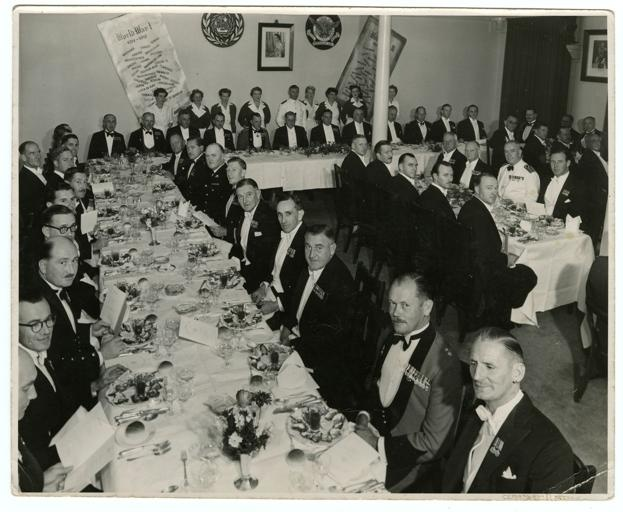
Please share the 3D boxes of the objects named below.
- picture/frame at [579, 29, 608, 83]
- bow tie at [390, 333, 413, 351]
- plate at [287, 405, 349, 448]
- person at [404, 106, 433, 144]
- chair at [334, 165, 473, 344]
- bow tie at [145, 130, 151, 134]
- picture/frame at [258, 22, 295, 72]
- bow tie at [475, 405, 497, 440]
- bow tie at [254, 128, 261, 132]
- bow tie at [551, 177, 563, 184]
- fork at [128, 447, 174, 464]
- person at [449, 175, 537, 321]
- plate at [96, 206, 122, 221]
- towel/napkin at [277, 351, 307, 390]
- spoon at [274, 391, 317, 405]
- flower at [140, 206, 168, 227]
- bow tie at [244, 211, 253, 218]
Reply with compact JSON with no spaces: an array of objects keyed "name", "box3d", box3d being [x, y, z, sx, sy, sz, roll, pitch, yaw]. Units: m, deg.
[{"name":"picture/frame","box3d":[5.416,-3.807,11.114,0.298,1.002,0.762,-6,13,-2]},{"name":"bow tie","box3d":[0.618,0.579,3.971,0.105,0.038,0.102,8,16,35]},{"name":"plate","box3d":[0.036,0.974,3.434,0.352,0.163,0.297,-4,14,8]},{"name":"person","box3d":[2.136,-2.646,11.768,0.541,0.683,1.147,-3,14,12]},{"name":"chair","box3d":[0.981,-0.029,6.107,0.608,1.128,1.865,-13,48,-9]},{"name":"bow tie","box3d":[-2.924,-2.234,10.504,0.058,0.057,0.014,-1,-3,-13]},{"name":"picture/frame","box3d":[-0.778,-4.458,12.292,0.913,1.077,0.074,-7,19,-28]},{"name":"bow tie","box3d":[1.011,0.947,3.336,0.053,0.152,0.147,6,15,16]},{"name":"bow tie","box3d":[-0.997,-2.375,10.999,0.079,0.078,0.025,-7,59,-13]},{"name":"bow tie","box3d":[3.067,-0.946,7.284,0.070,0.055,0.069,-12,18,-38]},{"name":"fork","box3d":[-0.907,1.122,3.288,0.262,0.041,0.078,-9,47,-22]},{"name":"person","box3d":[1.850,0.094,5.892,0.687,1.244,0.451,-2,14,15]},{"name":"plate","box3d":[-2.369,-0.490,6.822,0.209,0.057,0.235,0,24,-3]},{"name":"towel/napkin","box3d":[-0.129,0.753,3.821,0.198,0.119,0.309,-5,13,1]},{"name":"spoon","box3d":[-0.090,0.888,3.614,0.267,0.033,0.098,-8,14,-9]},{"name":"flower","box3d":[-1.732,-0.436,6.420,0.262,0.200,0.349,1,13,-11]},{"name":"bow tie","box3d":[-0.638,-0.417,5.971,0.068,0.072,0.024,2,0,40]}]
